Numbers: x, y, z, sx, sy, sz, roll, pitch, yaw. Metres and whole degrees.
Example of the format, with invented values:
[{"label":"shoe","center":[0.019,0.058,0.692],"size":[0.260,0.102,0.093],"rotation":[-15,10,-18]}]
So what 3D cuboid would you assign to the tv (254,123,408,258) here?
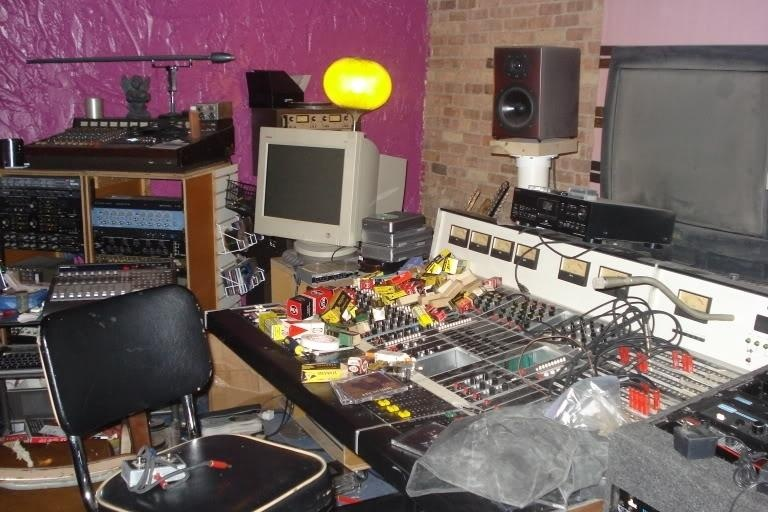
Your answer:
[{"label":"tv","center":[-0.312,-0.456,3.722],"size":[0.872,0.801,0.859],"rotation":[12,22,40]}]

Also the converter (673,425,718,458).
[{"label":"converter","center":[0.822,0.490,1.541],"size":[0.109,0.069,0.067],"rotation":[-4,14,-7]}]

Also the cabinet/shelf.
[{"label":"cabinet/shelf","center":[-1.480,-0.054,3.154],"size":[1.112,0.917,0.422],"rotation":[-3,15,-14]}]
